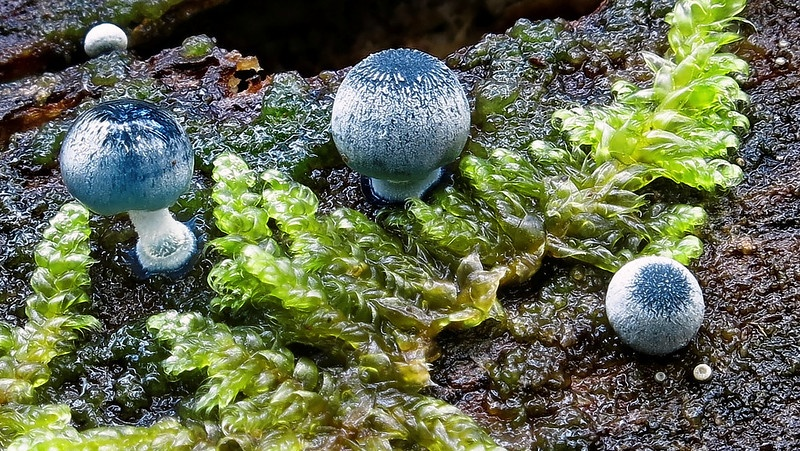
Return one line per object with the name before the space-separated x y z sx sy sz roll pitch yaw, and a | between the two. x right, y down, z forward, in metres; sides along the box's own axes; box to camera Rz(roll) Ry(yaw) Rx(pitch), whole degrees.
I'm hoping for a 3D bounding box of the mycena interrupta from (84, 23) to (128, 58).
mycena interrupta | -1.453 -0.898 4.445 0.159 0.170 0.149 -16 69 38
